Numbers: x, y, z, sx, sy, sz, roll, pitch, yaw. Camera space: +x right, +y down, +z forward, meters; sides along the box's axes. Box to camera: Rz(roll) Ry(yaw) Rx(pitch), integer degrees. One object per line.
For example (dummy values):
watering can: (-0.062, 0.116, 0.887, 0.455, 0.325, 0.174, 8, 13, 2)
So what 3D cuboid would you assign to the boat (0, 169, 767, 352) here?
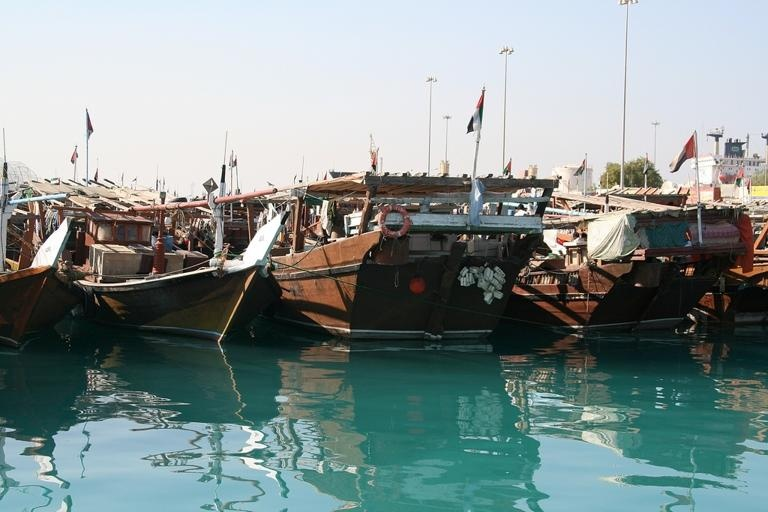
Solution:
boat: (0.677, 0.136, 21.221, 20.110, 5.346, 4.281, 1, 15, -3)

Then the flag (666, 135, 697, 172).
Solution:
flag: (9.609, -3.343, 22.848, 0.731, 0.170, 1.586, 1, -39, 8)
